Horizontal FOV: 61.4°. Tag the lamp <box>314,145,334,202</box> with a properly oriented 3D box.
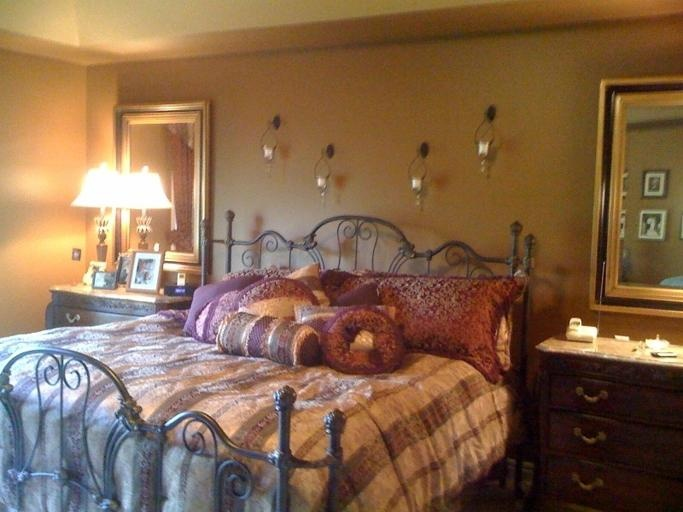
[{"bbox_3d":[-0.134,-0.595,3.989,0.159,0.375,0.083,2,4,21],"label":"lamp"}]

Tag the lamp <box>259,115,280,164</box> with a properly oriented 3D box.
[{"bbox_3d":[-0.530,-0.856,4.163,0.176,0.344,0.092,3,4,33],"label":"lamp"}]

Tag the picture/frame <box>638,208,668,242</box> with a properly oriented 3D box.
[{"bbox_3d":[1.746,-0.175,3.219,0.167,0.229,0.026,3,3,37],"label":"picture/frame"}]

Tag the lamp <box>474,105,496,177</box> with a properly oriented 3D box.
[{"bbox_3d":[0.889,-0.723,3.562,0.134,0.442,0.088,1,4,11],"label":"lamp"}]

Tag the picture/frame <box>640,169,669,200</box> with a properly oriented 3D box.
[{"bbox_3d":[1.745,-0.401,3.203,0.156,0.214,0.021,3,0,40],"label":"picture/frame"}]

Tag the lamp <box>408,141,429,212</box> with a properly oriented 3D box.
[{"bbox_3d":[0.496,-0.529,3.720,0.136,0.428,0.112,1,4,8],"label":"lamp"}]
